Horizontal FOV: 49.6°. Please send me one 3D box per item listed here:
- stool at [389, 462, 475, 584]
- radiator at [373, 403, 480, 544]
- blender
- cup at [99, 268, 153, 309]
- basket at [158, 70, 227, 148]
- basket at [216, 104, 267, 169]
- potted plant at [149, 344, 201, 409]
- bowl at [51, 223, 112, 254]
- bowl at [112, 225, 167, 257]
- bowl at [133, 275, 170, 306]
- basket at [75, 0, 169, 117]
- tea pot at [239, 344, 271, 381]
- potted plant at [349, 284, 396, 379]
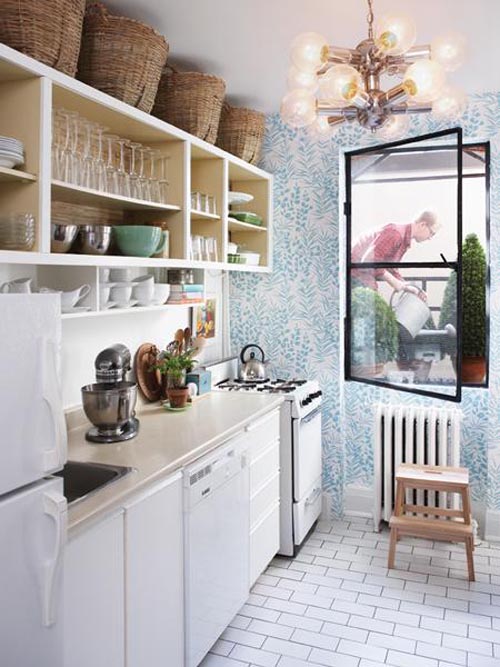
[{"bbox_3d":[1.032,0.998,3.034,0.426,0.496,0.588,1,2,22],"label":"stool"},{"bbox_3d":[0.985,0.775,3.261,0.600,0.772,0.238,3,-6,12],"label":"radiator"},{"bbox_3d":[-0.519,0.256,2.073,0.229,0.371,0.371,0,-1,5],"label":"blender"},{"bbox_3d":[-0.487,-0.182,2.142,0.184,0.075,0.144,-6,8,-24],"label":"cup"},{"bbox_3d":[-0.246,-1.090,2.662,0.350,0.336,0.333,3,1,18],"label":"basket"},{"bbox_3d":[-0.121,-1.208,3.406,0.342,0.338,0.328,7,4,29],"label":"basket"},{"bbox_3d":[-0.389,0.205,2.750,0.274,0.352,0.319,2,-1,-11],"label":"potted plant"},{"bbox_3d":[-0.554,-0.291,1.780,0.130,0.074,0.157,0,5,1],"label":"bowl"},{"bbox_3d":[-0.436,-0.353,2.142,0.164,0.080,0.134,3,-6,-41],"label":"bowl"},{"bbox_3d":[-0.426,-0.183,2.307,0.124,0.082,0.139,-2,-1,-19],"label":"bowl"},{"bbox_3d":[-0.457,-0.998,1.997,0.334,0.301,0.236,-1,2,-20],"label":"basket"},{"bbox_3d":[0.023,0.200,3.531,0.169,0.243,0.232,-9,-12,44],"label":"tea pot"},{"bbox_3d":[0.769,-0.003,3.393,0.219,0.495,0.377,-3,1,-31],"label":"potted plant"}]
